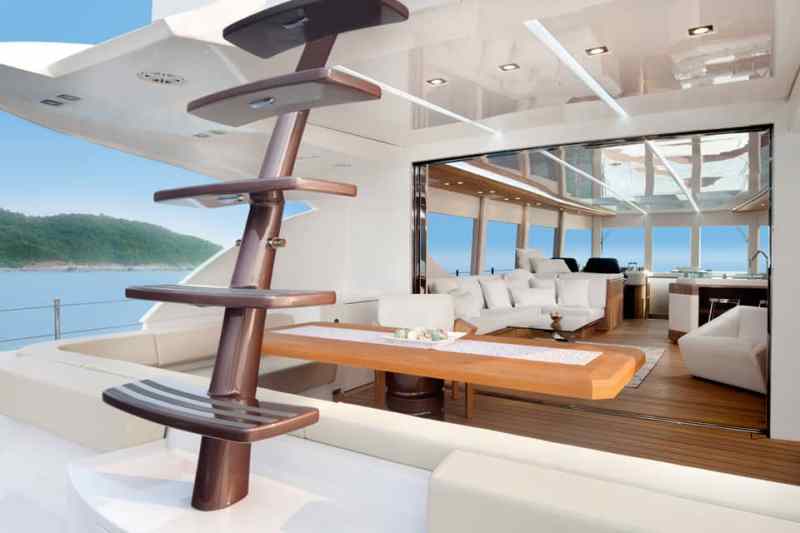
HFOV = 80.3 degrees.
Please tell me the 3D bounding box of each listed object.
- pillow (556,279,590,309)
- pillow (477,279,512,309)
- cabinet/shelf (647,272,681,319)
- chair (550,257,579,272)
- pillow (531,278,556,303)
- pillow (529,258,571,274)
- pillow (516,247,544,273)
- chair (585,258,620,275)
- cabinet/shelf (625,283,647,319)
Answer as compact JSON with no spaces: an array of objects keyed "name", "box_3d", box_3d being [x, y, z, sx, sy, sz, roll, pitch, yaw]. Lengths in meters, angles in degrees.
[{"name":"pillow","box_3d":[2.991,0.479,8.165,0.683,0.478,0.216,0,-11,23]},{"name":"pillow","box_3d":[1.529,0.432,7.557,0.652,0.437,0.181,-6,-22,-41]},{"name":"cabinet/shelf","box_3d":[5.965,0.743,10.653,0.564,0.761,0.986,4,-2,23]},{"name":"chair","box_3d":[3.663,-0.063,10.336,0.556,0.184,0.532,1,-2,-41]},{"name":"pillow","box_3d":[2.567,0.399,8.243,0.152,0.378,0.492,-26,-5,35]},{"name":"pillow","box_3d":[3.002,-0.018,9.433,0.729,0.269,0.658,0,4,7]},{"name":"pillow","box_3d":[2.672,-0.140,9.806,0.642,0.442,0.168,-1,-2,-30]},{"name":"chair","box_3d":[4.453,-0.045,10.216,0.775,0.277,0.686,-5,6,-43]},{"name":"cabinet/shelf","box_3d":[4.991,0.706,10.158,0.517,0.640,0.522,5,2,-44]}]
